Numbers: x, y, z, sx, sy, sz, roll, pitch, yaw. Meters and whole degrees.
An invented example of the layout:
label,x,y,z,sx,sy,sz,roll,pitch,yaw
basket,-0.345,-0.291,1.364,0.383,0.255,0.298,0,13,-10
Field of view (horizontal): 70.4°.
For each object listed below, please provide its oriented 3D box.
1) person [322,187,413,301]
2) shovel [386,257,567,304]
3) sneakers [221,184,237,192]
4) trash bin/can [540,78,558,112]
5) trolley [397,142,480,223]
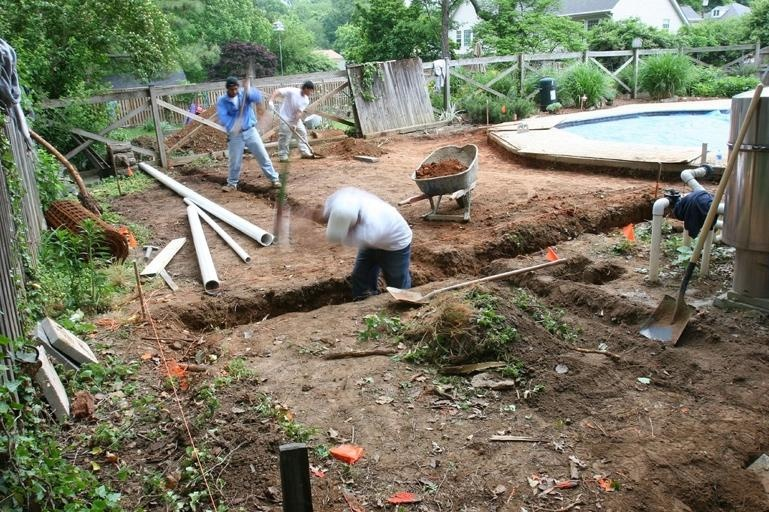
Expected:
label,x,y,z,sx,sy,sz,roll,pitch,yaw
person,-0.245,-0.095,6.980,0.732,1.637,1.298,8,21,31
shovel,1.055,0.363,7.138,2.706,0.177,0.710,-13,0,-3
sneakers,-3.395,-1.492,11.945,0.149,0.131,0.328,2,-5,24
trash bin/can,5.745,-5.769,19.309,0.514,1.112,0.394,0,19,11
trolley,1.357,-1.450,10.181,1.036,0.882,2.138,11,31,33
